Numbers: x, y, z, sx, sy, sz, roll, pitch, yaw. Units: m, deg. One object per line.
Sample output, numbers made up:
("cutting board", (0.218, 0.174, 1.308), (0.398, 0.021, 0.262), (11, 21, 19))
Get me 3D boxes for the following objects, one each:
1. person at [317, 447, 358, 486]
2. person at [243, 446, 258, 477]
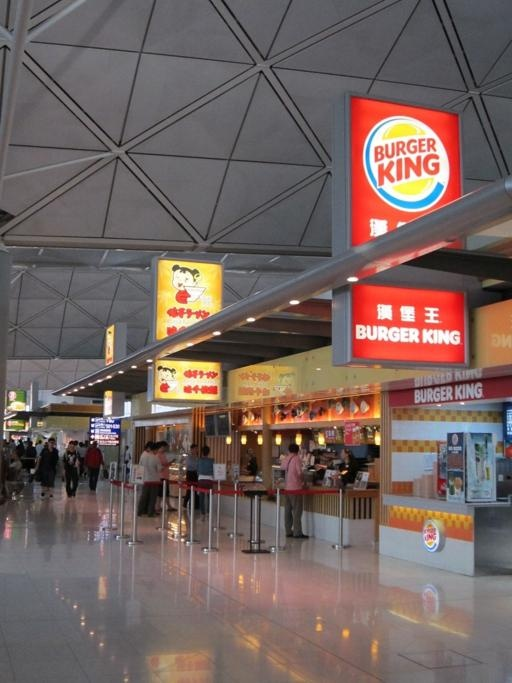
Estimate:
("person", (1.703, 2.618, 12.325), (0.424, 0.543, 0.809), (10, -22, -17))
("person", (-0.188, 3.565, 17.675), (0.466, 0.742, 0.876), (0, -8, 0))
